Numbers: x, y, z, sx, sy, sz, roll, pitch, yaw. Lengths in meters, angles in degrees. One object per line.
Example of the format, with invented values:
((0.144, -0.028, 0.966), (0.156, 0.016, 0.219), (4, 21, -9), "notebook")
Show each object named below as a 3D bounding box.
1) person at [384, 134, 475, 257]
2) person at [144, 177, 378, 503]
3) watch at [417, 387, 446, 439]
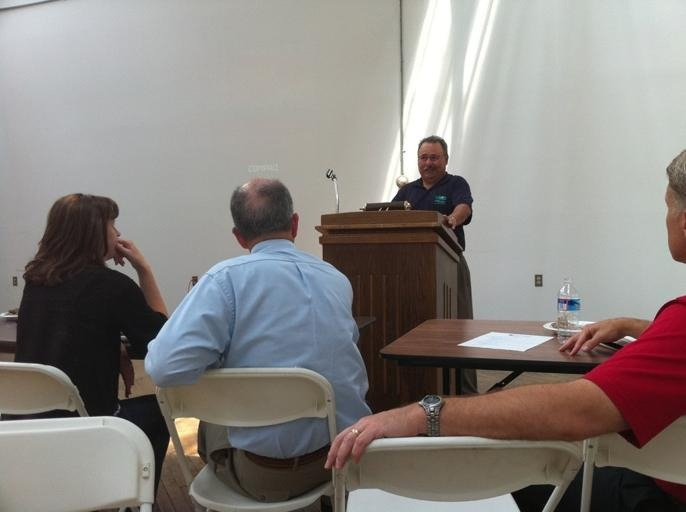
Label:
((0.675, -0.338, 4.224), (0.711, 1.209, 0.644), (-5, -11, 29), "person")
((-0.283, 0.362, 2.068), (0.664, 1.262, 0.812), (3, 9, 2), "person")
((0.225, 0.390, 1.359), (0.059, 0.095, 0.083), (-6, 14, 10), "watch")
